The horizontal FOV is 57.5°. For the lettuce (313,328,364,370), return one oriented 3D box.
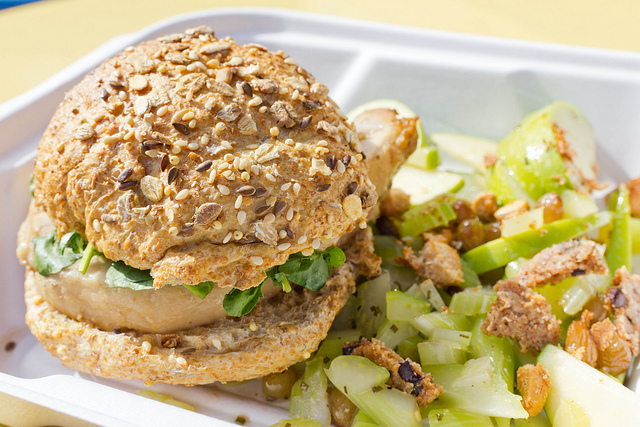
[{"bbox_3d":[0.097,0.722,3.352,0.342,0.246,0.156,-34,101,10],"label":"lettuce"}]

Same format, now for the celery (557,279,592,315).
[{"bbox_3d":[1.455,0.481,3.315,0.134,0.077,0.210,42,68,16],"label":"celery"}]

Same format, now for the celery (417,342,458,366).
[{"bbox_3d":[0.626,0.749,3.145,0.153,0.041,0.138,-16,82,11],"label":"celery"}]

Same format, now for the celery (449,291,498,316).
[{"bbox_3d":[0.858,0.504,3.311,0.177,0.059,0.152,5,19,10],"label":"celery"}]

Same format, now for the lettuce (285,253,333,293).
[{"bbox_3d":[-0.143,0.320,3.024,0.317,0.086,0.386,1,31,-6],"label":"lettuce"}]
